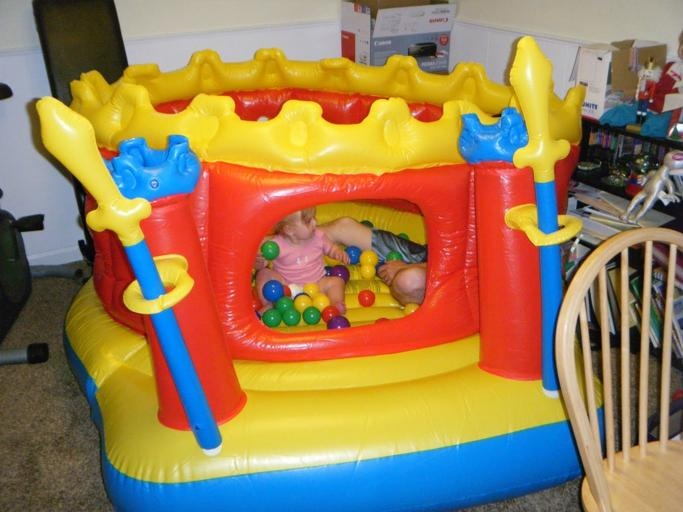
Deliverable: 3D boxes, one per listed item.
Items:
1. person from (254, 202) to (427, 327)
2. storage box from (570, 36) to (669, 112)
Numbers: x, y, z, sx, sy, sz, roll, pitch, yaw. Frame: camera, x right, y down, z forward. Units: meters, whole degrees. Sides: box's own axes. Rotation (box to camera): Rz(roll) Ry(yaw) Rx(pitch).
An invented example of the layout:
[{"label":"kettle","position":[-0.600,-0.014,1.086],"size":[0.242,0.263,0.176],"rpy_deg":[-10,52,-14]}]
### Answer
[{"label":"person","position":[-0.010,-0.050,2.693],"size":[0.828,0.481,0.613],"rpy_deg":[3,26,7]},{"label":"storage box","position":[1.457,-0.916,2.899],"size":[0.412,0.380,0.249],"rpy_deg":[-16,29,-17]}]
